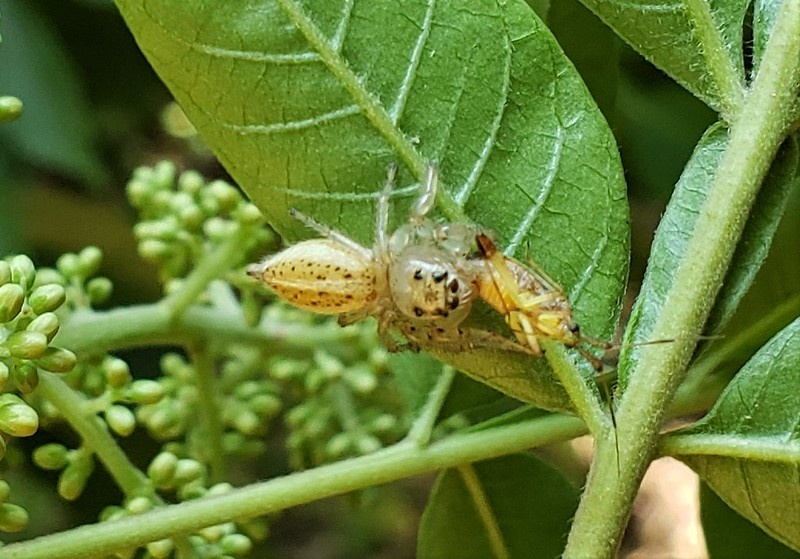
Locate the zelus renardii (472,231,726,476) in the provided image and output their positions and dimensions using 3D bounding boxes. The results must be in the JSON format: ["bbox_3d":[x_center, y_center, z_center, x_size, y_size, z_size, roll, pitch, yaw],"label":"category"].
[{"bbox_3d":[0.396,0.107,2.324,0.378,0.646,0.322,4,14,-16],"label":"zelus renardii"}]
